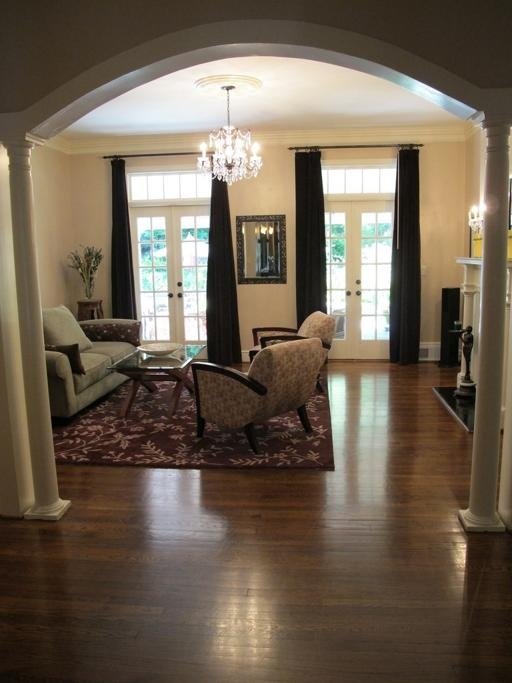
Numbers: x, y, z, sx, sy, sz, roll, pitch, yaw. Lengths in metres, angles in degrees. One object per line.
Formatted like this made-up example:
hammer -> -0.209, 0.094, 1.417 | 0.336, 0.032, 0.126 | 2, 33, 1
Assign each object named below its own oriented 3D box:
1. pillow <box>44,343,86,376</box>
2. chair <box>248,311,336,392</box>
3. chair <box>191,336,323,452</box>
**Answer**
pillow -> -1.705, 0.177, 4.711 | 0.090, 0.294, 0.279 | -12, -9, 39
chair -> 0.352, 0.098, 5.771 | 0.888, 0.875, 0.778 | 2, 8, 8
chair -> 0.069, 0.371, 4.194 | 0.727, 0.782, 0.959 | 6, 8, 33
